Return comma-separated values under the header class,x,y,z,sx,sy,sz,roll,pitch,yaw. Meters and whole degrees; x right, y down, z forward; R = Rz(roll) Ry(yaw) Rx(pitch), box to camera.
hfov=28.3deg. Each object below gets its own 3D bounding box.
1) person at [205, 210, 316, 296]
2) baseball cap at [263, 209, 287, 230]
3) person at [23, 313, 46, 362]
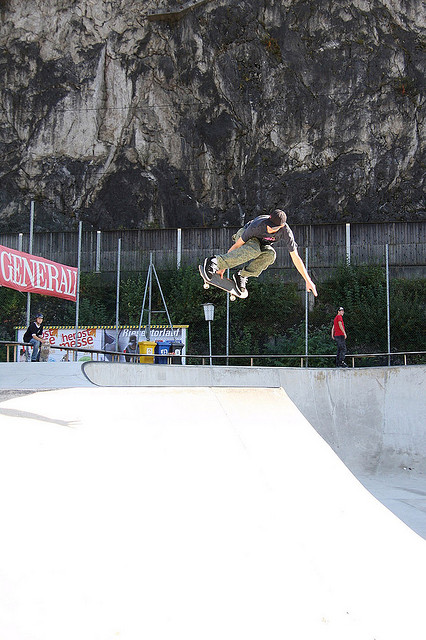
class,x,y,z,sx,sy,sz,roll,pitch,yaw
person,0.376,-0.584,7.596,0.550,0.806,1.069,1,6,-34
baseball cap,0.540,-0.864,7.237,0.119,0.101,0.194,46,-1,3
person,-2.297,0.212,10.870,0.248,0.631,1.613,3,6,-11
